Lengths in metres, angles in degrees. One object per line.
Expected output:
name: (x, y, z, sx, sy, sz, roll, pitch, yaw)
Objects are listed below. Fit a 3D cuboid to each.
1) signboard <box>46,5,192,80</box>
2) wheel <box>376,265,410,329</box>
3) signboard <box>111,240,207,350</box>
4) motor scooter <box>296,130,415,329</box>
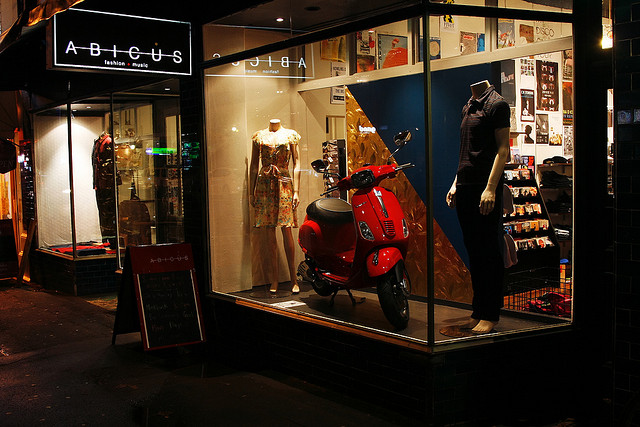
signboard: (-1.909, -1.652, 5.009, 1.325, 0.573, 0.207, -6, 8, -32)
wheel: (0.628, 0.723, 4.437, 0.270, 0.506, 0.220, -1, 7, 6)
signboard: (-1.747, 0.921, 5.565, 0.838, 1.102, 0.903, 0, -3, 24)
motor scooter: (0.366, 0.171, 5.229, 0.862, 1.566, 2.087, -3, 3, -23)
